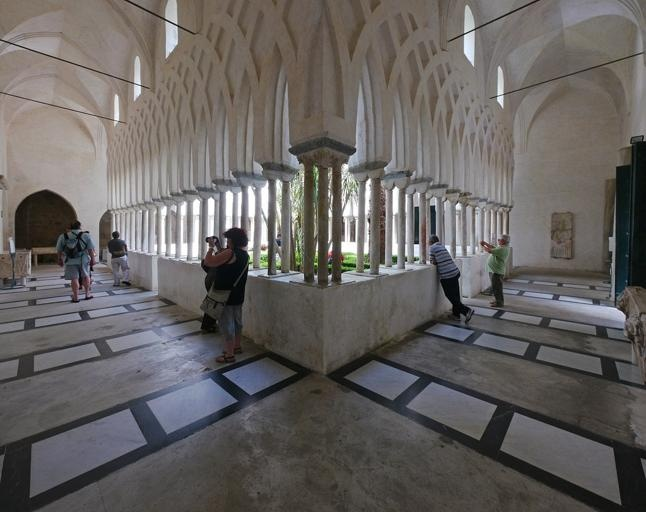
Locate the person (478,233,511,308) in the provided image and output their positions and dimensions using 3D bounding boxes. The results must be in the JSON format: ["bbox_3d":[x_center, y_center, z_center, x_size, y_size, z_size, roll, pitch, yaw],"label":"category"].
[{"bbox_3d":[4.020,0.233,9.941,0.604,1.482,2.566,-1,3,22],"label":"person"}]

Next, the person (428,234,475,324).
[{"bbox_3d":[2.417,0.389,8.134,0.835,1.599,0.563,-1,2,31],"label":"person"}]

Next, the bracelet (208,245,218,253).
[{"bbox_3d":[-1.749,-0.111,6.809,0.123,0.076,0.181,-2,4,-24],"label":"bracelet"}]

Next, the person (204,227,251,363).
[{"bbox_3d":[-1.480,0.509,6.419,0.642,2.076,0.606,-7,19,-40],"label":"person"}]

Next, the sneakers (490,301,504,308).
[{"bbox_3d":[3.655,1.006,8.999,0.110,0.126,0.257,-3,9,-30],"label":"sneakers"}]

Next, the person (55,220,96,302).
[{"bbox_3d":[-5.266,0.064,9.162,0.571,1.694,0.489,-8,20,-38],"label":"person"}]

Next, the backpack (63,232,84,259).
[{"bbox_3d":[-5.208,-0.218,8.977,0.386,0.512,0.185,-4,2,-28],"label":"backpack"}]
